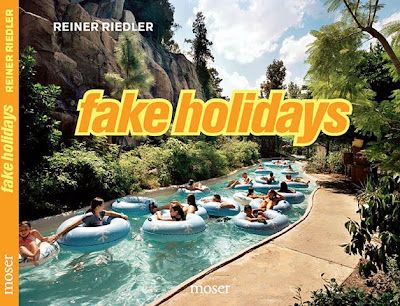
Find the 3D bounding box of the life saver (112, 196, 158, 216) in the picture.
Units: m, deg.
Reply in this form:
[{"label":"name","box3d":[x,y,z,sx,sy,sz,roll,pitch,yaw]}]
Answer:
[{"label":"life saver","box3d":[-2.645,2.114,11.166,0.961,0.285,0.972,4,8,-8]}]

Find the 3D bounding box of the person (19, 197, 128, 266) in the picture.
[{"label":"person","box3d":[-3.390,2.237,7.809,2.527,0.714,1.492,-2,13,-39]}]
